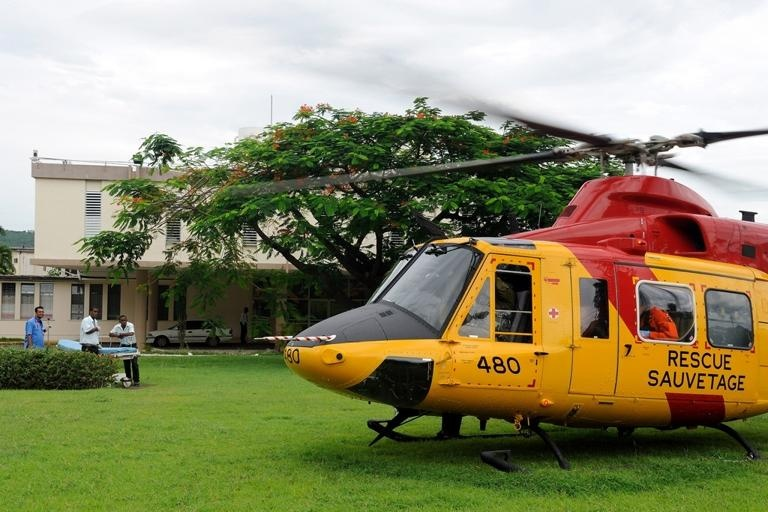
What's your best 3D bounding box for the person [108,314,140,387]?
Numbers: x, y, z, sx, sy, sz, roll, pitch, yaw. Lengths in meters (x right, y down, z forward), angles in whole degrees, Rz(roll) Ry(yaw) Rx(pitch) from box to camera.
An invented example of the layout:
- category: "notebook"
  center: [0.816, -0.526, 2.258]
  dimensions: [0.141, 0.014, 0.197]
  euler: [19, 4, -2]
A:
- category: "person"
  center: [-6.367, 2.256, 16.997]
  dimensions: [1.036, 1.461, 0.862]
  euler: [-2, -12, 12]
